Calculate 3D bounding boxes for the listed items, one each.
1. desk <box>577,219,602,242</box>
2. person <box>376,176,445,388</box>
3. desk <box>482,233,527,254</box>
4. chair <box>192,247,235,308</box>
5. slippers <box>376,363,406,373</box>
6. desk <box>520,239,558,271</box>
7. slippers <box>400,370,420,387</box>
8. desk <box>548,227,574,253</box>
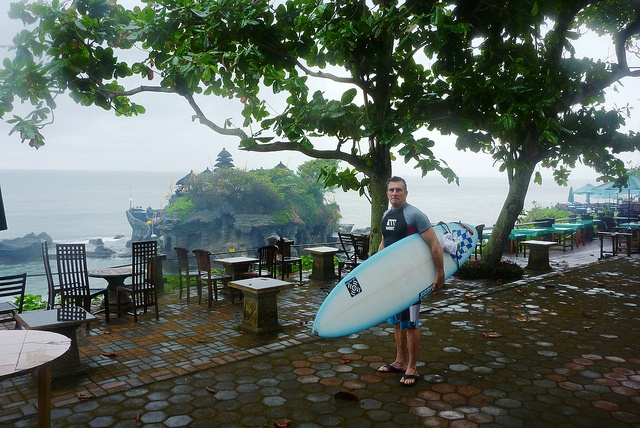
[{"bbox_3d":[11.897,0.702,18.471,1.075,0.744,1.621,1,3,40],"label":"desk"},{"bbox_3d":[1.245,0.919,5.935,0.941,2.868,0.779,5,11,29],"label":"person"},{"bbox_3d":[6.911,1.113,15.282,1.131,0.731,1.518,-3,7,-17],"label":"desk"},{"bbox_3d":[-2.342,1.346,9.149,0.689,1.345,1.668,-3,9,-16],"label":"chair"},{"bbox_3d":[1.039,2.270,6.083,0.327,0.074,0.148,3,-11,1],"label":"slippers"},{"bbox_3d":[6.298,1.221,12.034,0.849,0.783,0.866,-4,-5,41],"label":"desk"},{"bbox_3d":[1.285,2.308,5.854,0.348,0.157,0.163,-5,10,-33],"label":"slippers"},{"bbox_3d":[9.305,1.048,16.225,0.693,0.785,0.836,-6,7,-23],"label":"desk"}]
